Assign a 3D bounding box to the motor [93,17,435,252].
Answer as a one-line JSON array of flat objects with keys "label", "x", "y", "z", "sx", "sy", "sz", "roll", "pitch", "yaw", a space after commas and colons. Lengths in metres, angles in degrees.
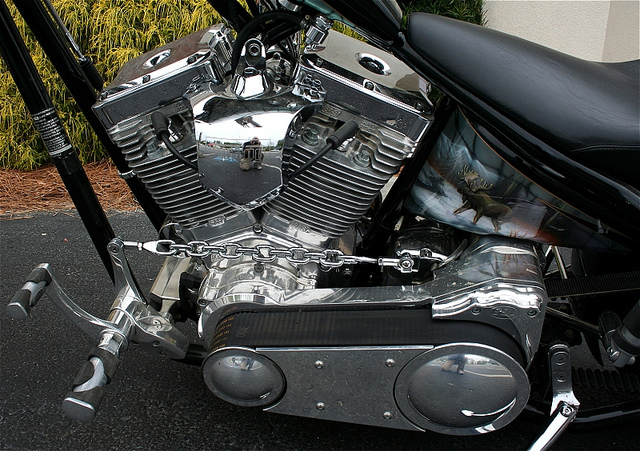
[{"label": "motor", "x": -0.188, "y": -0.410, "z": 1.770, "sx": 1.268, "sy": 0.816, "sz": 0.770, "roll": 4, "pitch": 35, "yaw": 0}]
